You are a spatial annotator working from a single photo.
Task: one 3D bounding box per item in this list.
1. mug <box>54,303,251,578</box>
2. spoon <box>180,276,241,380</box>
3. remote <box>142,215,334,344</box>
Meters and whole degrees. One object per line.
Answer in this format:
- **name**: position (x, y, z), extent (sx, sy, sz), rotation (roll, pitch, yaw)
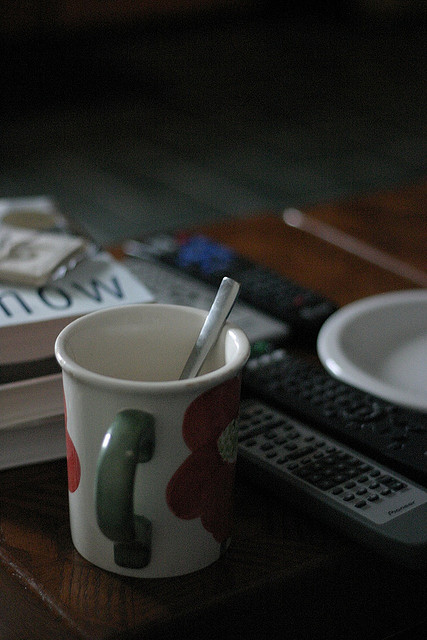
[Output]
- **mug**: position (-0.027, 0.053, 0.280), extent (0.075, 0.101, 0.079), rotation (-8, 29, -30)
- **spoon**: position (-0.002, 0.004, 0.318), extent (0.010, 0.070, 0.010), rotation (27, 3, 13)
- **remote**: position (0.002, -0.048, 0.596), extent (0.255, 0.033, 0.073), rotation (32, 44, 27)
